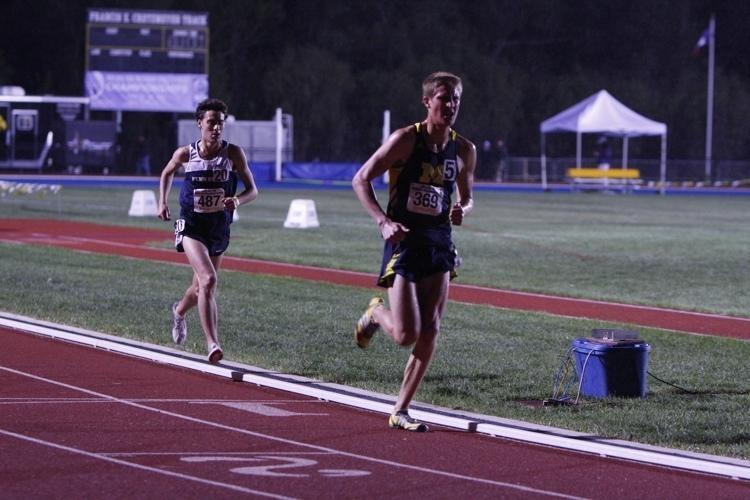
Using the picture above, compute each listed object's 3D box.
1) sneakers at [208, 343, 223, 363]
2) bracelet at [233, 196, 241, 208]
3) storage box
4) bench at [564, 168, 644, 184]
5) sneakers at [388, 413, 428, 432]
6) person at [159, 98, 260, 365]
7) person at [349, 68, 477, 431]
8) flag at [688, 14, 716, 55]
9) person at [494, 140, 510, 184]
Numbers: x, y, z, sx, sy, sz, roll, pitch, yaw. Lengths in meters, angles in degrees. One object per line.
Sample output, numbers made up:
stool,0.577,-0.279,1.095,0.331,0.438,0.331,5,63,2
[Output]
sneakers,-1.586,1.040,9.867,0.092,0.113,0.242,11,-35,-19
bracelet,-1.409,-0.494,10.183,0.102,0.119,0.129,-3,8,-8
storage box,2.355,1.232,9.788,0.681,0.452,0.520,3,-18,-31
bench,4.150,-1.365,17.856,1.276,0.258,0.976,3,10,8
sneakers,0.270,1.527,8.751,0.377,0.159,0.138,-1,0,24
person,-1.774,-0.189,10.322,0.954,2.773,1.405,0,9,-13
person,0.322,0.011,8.694,1.076,3.136,0.647,2,8,-2
flag,5.604,-3.602,16.843,0.284,0.372,0.940,11,-29,-2
person,5.478,-3.928,42.992,0.486,1.898,0.667,1,8,-4
